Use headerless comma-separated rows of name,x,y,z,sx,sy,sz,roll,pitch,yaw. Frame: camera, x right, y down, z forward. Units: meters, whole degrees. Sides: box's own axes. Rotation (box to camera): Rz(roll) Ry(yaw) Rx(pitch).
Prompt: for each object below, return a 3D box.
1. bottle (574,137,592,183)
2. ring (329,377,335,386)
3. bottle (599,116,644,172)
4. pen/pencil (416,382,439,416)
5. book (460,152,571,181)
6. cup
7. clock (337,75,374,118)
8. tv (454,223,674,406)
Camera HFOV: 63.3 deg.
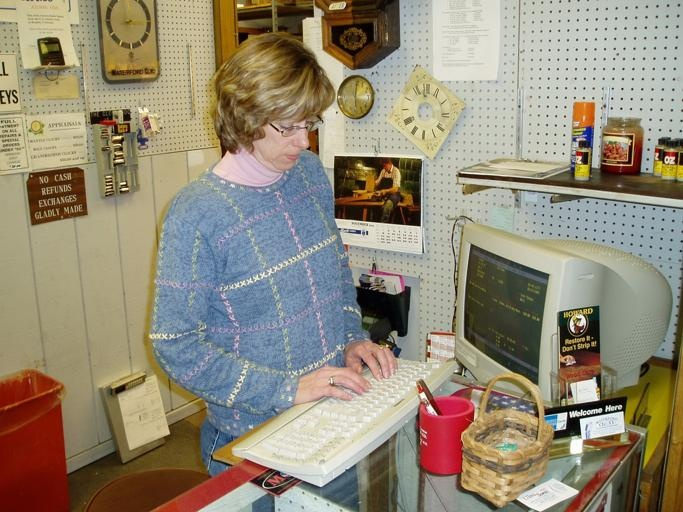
bottle,0.795,-0.321,1.831,0.052,0.126,0.102,4,15,22
ring,-0.023,0.333,1.475,0.007,0.015,0.020,7,26,-12
bottle,0.939,-0.373,1.863,0.120,0.187,0.064,5,15,25
pen/pencil,0.216,0.360,1.392,0.024,0.030,0.119,-22,41,-1
book,0.628,-0.319,2.000,0.344,0.048,0.266,10,19,38
cup,0.248,0.448,1.436,0.139,0.183,0.164,2,14,8
clock,0.065,-0.698,2.401,0.163,0.177,0.039,-4,3,34
tv,0.757,0.135,1.961,0.570,0.583,0.599,-9,6,-16
